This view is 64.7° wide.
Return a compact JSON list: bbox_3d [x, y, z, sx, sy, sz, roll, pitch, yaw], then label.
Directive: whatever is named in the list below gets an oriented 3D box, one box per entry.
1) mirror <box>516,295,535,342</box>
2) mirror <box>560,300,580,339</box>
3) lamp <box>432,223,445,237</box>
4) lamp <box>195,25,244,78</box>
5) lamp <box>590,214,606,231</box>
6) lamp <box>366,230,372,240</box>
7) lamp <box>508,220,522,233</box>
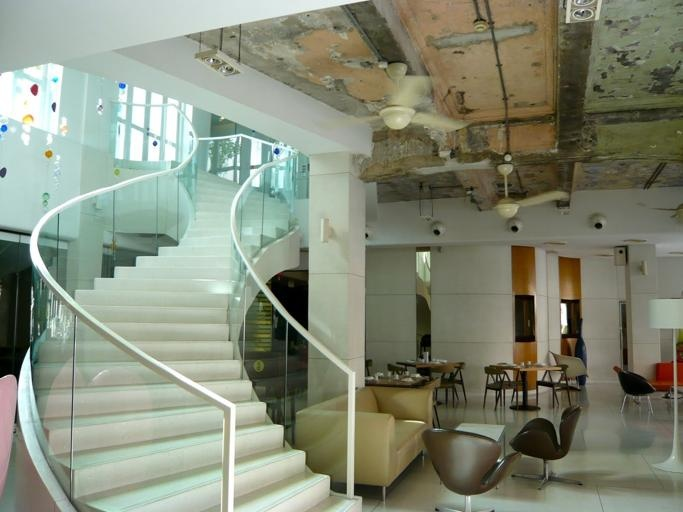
[{"bbox_3d":[4.489,1.514,13.071,0.658,1.054,0.614,-6,-8,34],"label":"mirror"},{"bbox_3d":[6.328,1.759,14.685,0.868,1.435,0.143,13,-19,-35],"label":"mirror"},{"bbox_3d":[2.215,-0.586,12.019,0.227,0.293,0.299,3,-1,4],"label":"lamp"},{"bbox_3d":[-1.194,-2.002,5.211,0.464,0.441,0.371,18,15,35],"label":"lamp"},{"bbox_3d":[5.473,-0.720,11.242,0.273,0.321,0.199,0,-2,22],"label":"lamp"},{"bbox_3d":[0.651,-0.458,12.089,0.158,0.208,0.208,-4,-11,10],"label":"lamp"},{"bbox_3d":[3.852,-0.642,11.644,0.263,0.260,0.062,-8,4,23],"label":"lamp"}]
